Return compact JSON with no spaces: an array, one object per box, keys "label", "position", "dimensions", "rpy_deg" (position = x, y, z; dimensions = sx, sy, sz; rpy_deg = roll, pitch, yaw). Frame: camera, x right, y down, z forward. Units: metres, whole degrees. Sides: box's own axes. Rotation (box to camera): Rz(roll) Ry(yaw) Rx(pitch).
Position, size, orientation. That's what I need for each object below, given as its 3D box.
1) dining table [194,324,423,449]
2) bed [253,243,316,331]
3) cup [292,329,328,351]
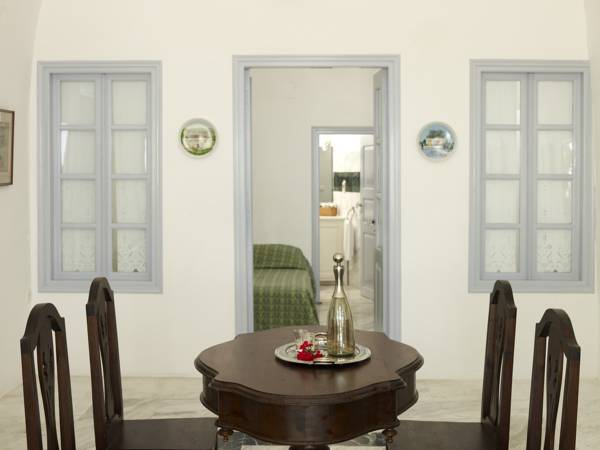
[{"label":"dining table","position":[0.026,0.772,2.701],"dimensions":[1.081,0.291,0.720],"rpy_deg":[5,10,14]},{"label":"bed","position":[-0.242,0.610,6.176],"dimensions":[0.837,0.534,1.410],"rpy_deg":[2,9,-3]},{"label":"cup","position":[0.057,0.586,2.870],"dimensions":[0.074,0.090,0.170],"rpy_deg":[1,1,-26]}]
